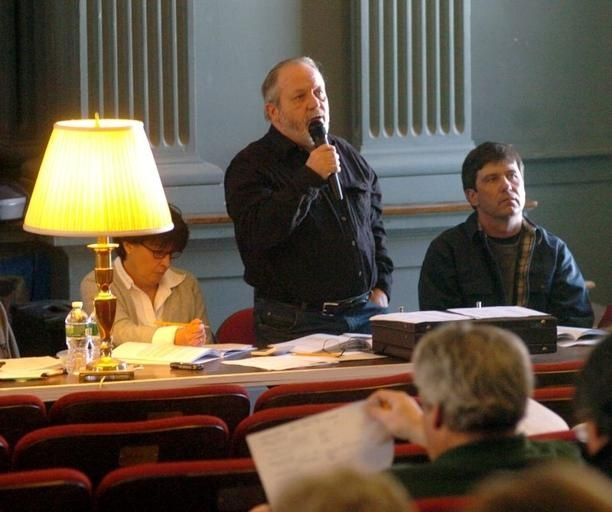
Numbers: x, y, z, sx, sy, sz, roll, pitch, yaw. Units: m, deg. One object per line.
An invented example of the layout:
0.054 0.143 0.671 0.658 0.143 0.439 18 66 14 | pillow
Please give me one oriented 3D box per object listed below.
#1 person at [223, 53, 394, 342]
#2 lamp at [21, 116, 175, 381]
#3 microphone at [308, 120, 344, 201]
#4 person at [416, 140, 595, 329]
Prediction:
0.037 -0.232 2.795 0.732 1.169 0.534 -7 14 -18 | person
-0.617 -0.041 2.060 0.381 0.773 0.368 8 17 39 | lamp
0.083 -0.412 2.659 0.083 0.077 0.430 -2 53 -18 | microphone
0.858 0.032 2.870 0.688 1.042 0.570 -2 -6 12 | person
